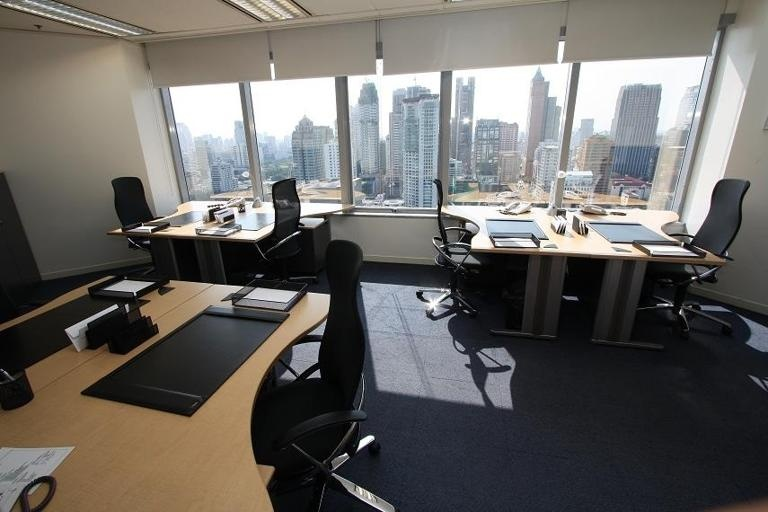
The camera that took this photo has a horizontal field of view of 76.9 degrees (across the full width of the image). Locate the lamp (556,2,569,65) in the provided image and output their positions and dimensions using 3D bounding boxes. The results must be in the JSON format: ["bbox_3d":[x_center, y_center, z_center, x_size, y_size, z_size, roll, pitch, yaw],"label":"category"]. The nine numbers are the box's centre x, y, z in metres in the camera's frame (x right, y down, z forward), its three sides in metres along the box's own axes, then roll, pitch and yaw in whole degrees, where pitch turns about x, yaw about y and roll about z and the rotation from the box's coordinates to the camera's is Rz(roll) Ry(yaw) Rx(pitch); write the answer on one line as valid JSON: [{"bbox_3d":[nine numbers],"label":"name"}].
[{"bbox_3d":[2.178,-2.748,5.904,0.101,0.699,0.086,4,20,16],"label":"lamp"}]

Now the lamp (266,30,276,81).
[{"bbox_3d":[-1.545,-2.740,6.612,0.084,0.602,0.054,-5,20,-9],"label":"lamp"}]

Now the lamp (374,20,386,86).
[{"bbox_3d":[-0.060,-2.749,6.367,0.070,0.656,0.113,-15,23,-31],"label":"lamp"}]

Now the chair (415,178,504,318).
[{"bbox_3d":[0.920,-0.072,6.080,1.004,1.479,0.976,4,6,16],"label":"chair"}]

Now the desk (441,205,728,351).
[{"bbox_3d":[2.144,0.137,5.951,2.874,1.206,1.851,1,19,9],"label":"desk"}]
